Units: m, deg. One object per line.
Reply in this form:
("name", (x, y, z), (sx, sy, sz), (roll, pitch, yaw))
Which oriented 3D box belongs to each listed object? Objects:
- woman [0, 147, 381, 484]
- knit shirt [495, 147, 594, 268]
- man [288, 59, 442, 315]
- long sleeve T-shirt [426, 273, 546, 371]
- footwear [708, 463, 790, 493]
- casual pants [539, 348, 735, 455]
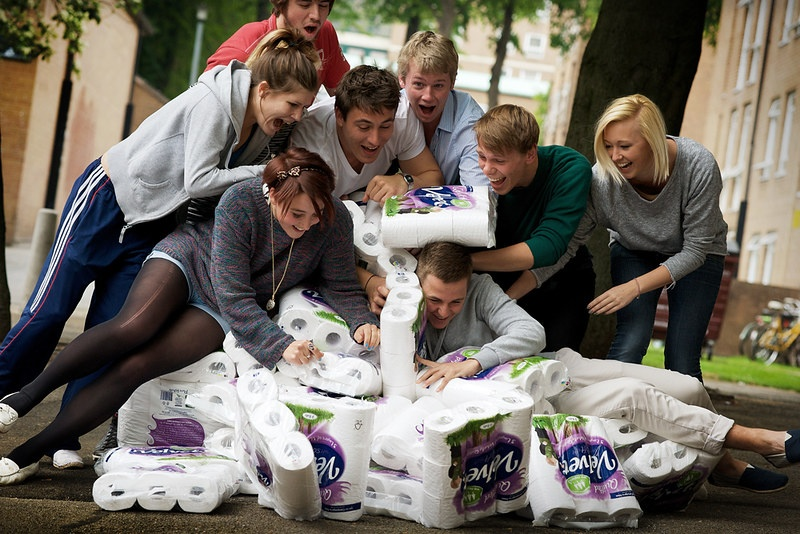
("woman", (-1.520, 0.579, 5.483), (2.651, 1.910, 1.023), (-31, -17, -14))
("knit shirt", (1.178, -0.514, 5.695), (0.311, 0.934, 0.904), (16, -2, -31))
("man", (-0.199, -0.723, 5.712), (1.225, 1.489, 1.860), (-1, 41, -2))
("long sleeve T-shirt", (0.777, 0.483, 5.682), (1.009, 0.983, 0.281), (-23, 45, -29))
("footwear", (2.624, 1.595, 5.428), (0.605, 0.203, 0.247), (-2, 8, 3))
("casual pants", (1.728, 0.969, 5.241), (1.309, 0.454, 0.618), (17, 6, 15))
